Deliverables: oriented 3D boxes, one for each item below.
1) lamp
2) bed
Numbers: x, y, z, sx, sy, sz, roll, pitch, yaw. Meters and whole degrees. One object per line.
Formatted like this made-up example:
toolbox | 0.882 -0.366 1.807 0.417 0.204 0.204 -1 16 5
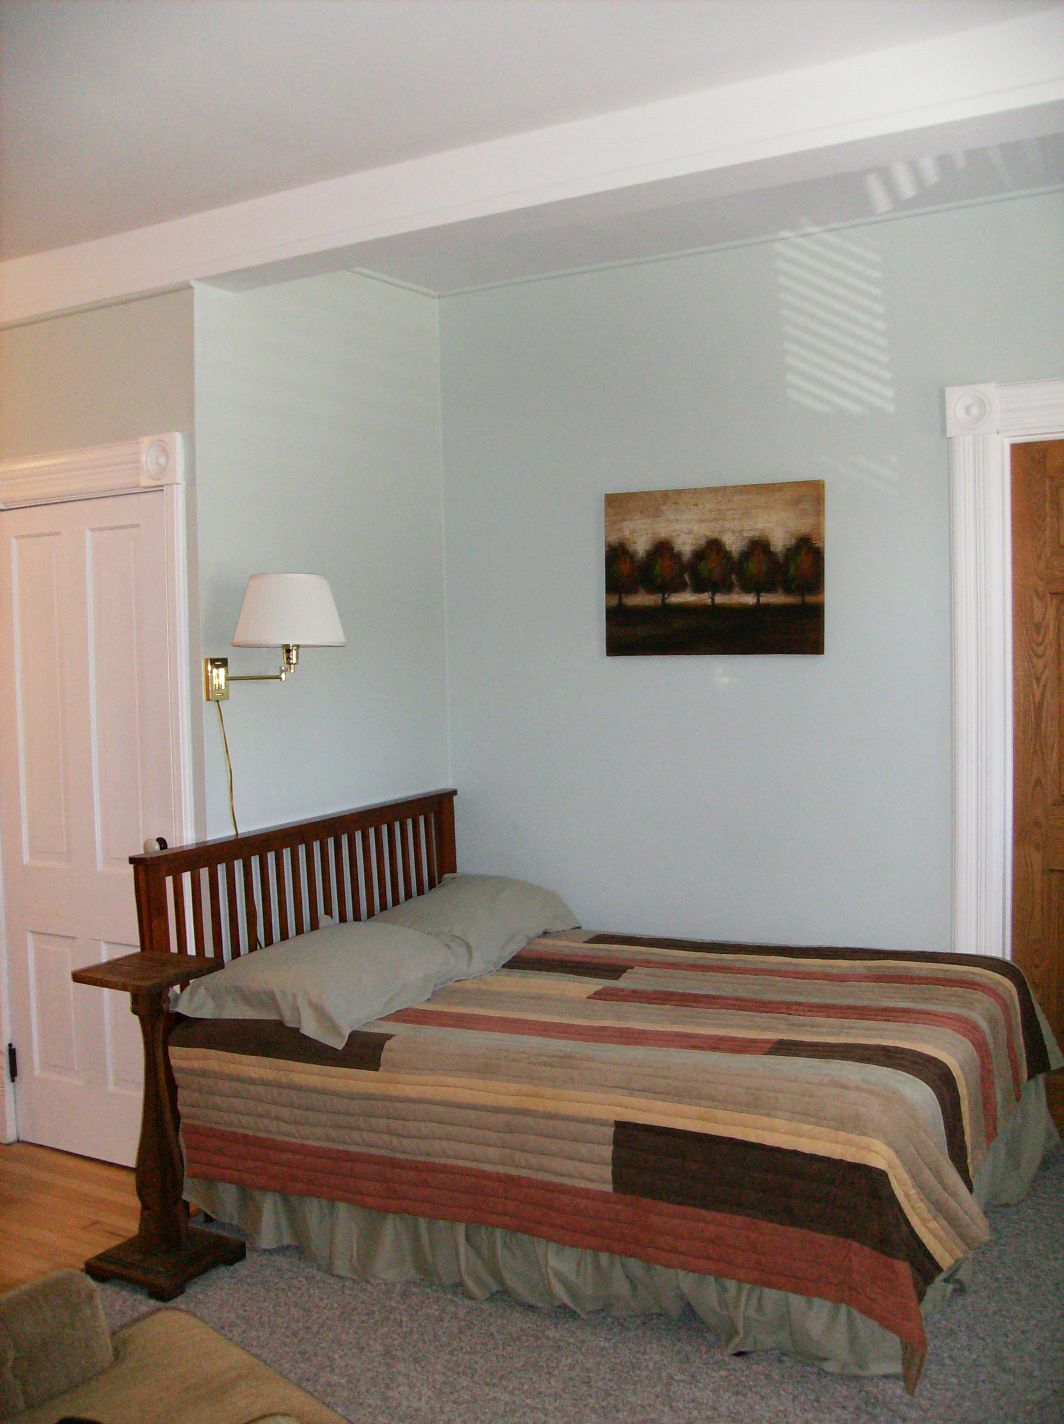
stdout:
lamp | -0.685 -0.190 3.148 0.392 0.349 0.295 1 6 11
bed | 0.031 0.798 2.751 1.675 0.836 1.231 1 13 21
